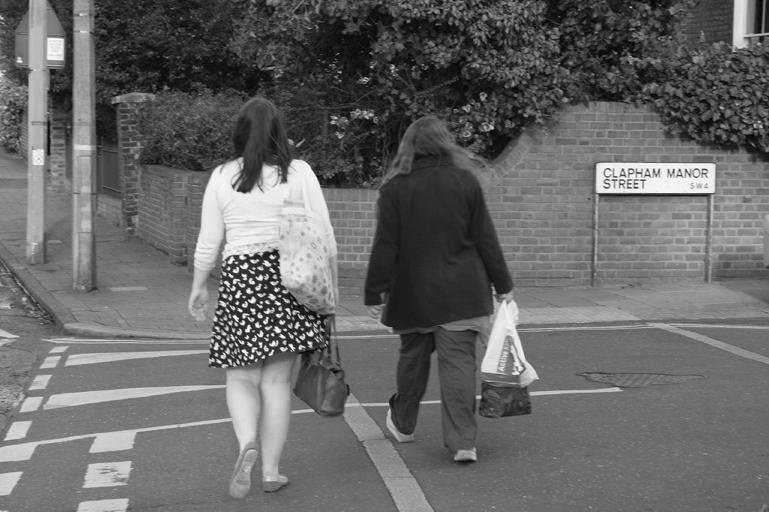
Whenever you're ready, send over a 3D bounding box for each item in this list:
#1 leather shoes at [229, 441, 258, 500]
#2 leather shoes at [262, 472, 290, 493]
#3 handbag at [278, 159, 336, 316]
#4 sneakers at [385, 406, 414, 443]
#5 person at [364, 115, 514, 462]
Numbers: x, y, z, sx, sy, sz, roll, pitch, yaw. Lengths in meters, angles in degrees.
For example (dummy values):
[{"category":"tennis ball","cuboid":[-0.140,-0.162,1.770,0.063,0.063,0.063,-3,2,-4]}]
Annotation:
[{"category":"leather shoes","cuboid":[-1.006,1.550,6.748,0.173,0.417,0.179,23,-11,-24]},{"category":"leather shoes","cuboid":[-0.825,1.732,7.184,0.101,0.132,0.237,4,12,25]},{"category":"handbag","cuboid":[-0.579,-0.090,6.980,0.422,1.109,0.356,-2,12,-4]},{"category":"sneakers","cuboid":[0.108,1.495,8.087,0.159,0.146,0.399,-3,6,-23]},{"category":"person","cuboid":[0.434,0.283,7.672,1.025,2.745,0.622,5,13,27]}]
